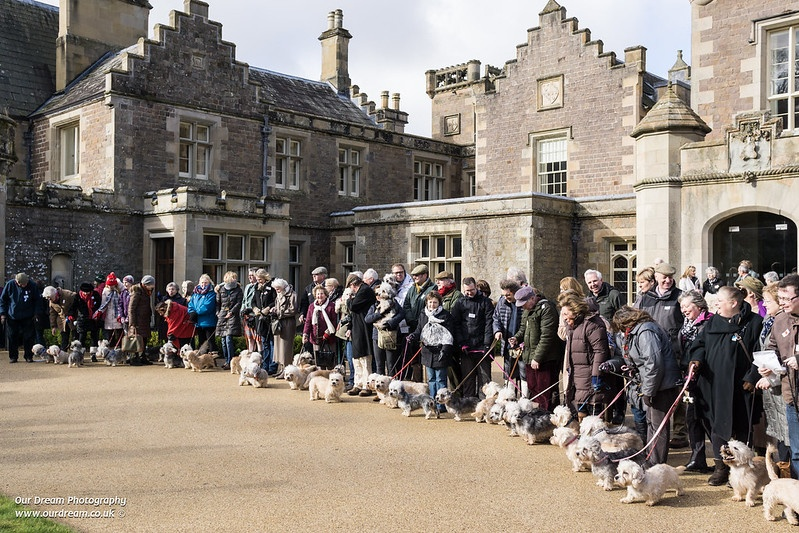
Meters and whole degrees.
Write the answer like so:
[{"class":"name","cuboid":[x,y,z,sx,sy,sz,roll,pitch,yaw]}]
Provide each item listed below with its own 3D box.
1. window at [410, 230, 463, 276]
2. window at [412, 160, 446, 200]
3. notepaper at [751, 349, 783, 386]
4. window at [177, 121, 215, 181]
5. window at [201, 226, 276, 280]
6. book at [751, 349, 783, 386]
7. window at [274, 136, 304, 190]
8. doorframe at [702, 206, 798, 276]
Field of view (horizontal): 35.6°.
[{"class":"window","cuboid":[1.104,-0.331,35.466,1.279,1.108,0.156,3,2,43]},{"class":"window","cuboid":[0.960,-2.891,43.439,1.655,1.464,0.169,3,-2,-44]},{"class":"notepaper","cuboid":[6.457,1.849,21.891,0.561,0.559,0.201,-27,5,36]},{"class":"window","cuboid":[-6.012,-3.397,36.665,0.323,2.068,1.757,5,4,44]},{"class":"window","cuboid":[-4.634,-0.114,35.501,2.255,1.664,0.219,3,6,16]},{"class":"book","cuboid":[6.454,1.827,21.880,0.561,0.559,0.201,-27,5,36]},{"class":"window","cuboid":[-3.477,-3.178,38.938,0.232,1.939,1.656,-3,-4,37]},{"class":"doorframe","cuboid":[7.996,-0.567,28.249,1.529,1.581,0.109,1,-6,29]}]
